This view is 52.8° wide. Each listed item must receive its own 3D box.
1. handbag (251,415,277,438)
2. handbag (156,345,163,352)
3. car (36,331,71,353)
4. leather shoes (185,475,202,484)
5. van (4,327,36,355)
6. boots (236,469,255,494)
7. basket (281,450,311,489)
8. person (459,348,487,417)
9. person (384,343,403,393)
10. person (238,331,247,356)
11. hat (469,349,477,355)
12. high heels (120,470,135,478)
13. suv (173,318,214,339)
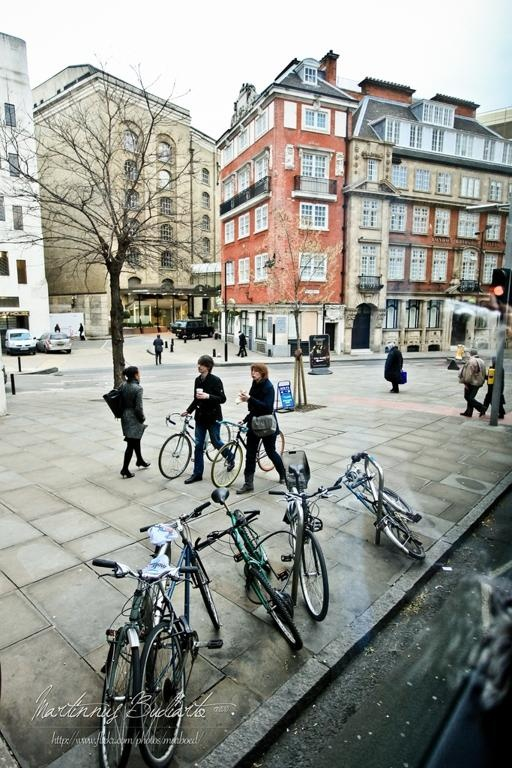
[{"bbox_3d":[0.094,0.521,6.313,0.312,0.325,0.246,-2,0,-3],"label":"handbag"},{"bbox_3d":[-4.956,-1.726,26.433,0.301,0.338,0.303,2,14,-9],"label":"handbag"},{"bbox_3d":[-13.402,-2.614,34.210,1.353,1.291,3.070,-6,9,-37],"label":"car"},{"bbox_3d":[-0.853,1.315,7.051,0.254,0.113,0.087,1,-1,-30],"label":"leather shoes"},{"bbox_3d":[-14.946,-2.537,32.499,1.300,1.201,2.322,-6,4,-30],"label":"van"},{"bbox_3d":[-0.125,1.307,6.586,0.290,0.298,0.142,3,-4,-36],"label":"boots"},{"bbox_3d":[0.351,0.775,4.444,0.190,0.165,0.366,1,19,-1],"label":"basket"},{"bbox_3d":[5.079,0.009,12.062,0.582,1.558,1.518,3,8,25],"label":"person"},{"bbox_3d":[4.259,-0.455,15.958,0.447,1.476,1.602,1,8,14],"label":"person"},{"bbox_3d":[-0.831,-2.122,29.922,0.419,1.328,0.638,-2,8,-13],"label":"person"},{"bbox_3d":[5.000,-0.687,11.859,0.096,0.141,0.132,-3,23,-3],"label":"hat"},{"bbox_3d":[-1.813,1.266,7.306,0.077,0.141,0.193,14,18,41],"label":"high heels"},{"bbox_3d":[-5.559,-4.462,43.364,2.186,1.663,4.165,3,9,27],"label":"suv"}]
